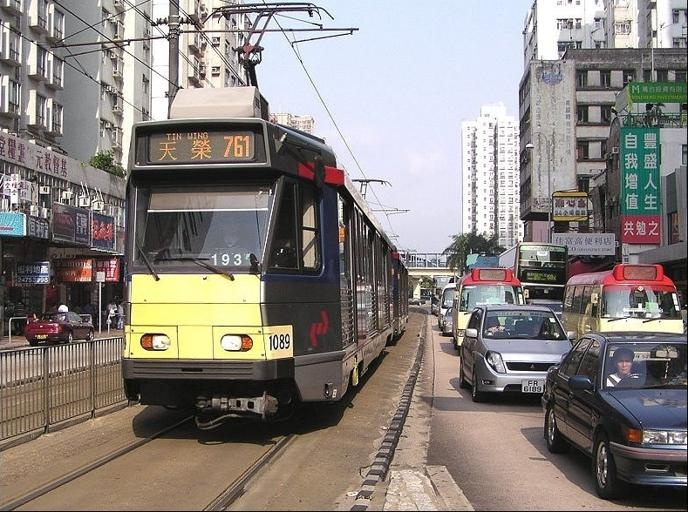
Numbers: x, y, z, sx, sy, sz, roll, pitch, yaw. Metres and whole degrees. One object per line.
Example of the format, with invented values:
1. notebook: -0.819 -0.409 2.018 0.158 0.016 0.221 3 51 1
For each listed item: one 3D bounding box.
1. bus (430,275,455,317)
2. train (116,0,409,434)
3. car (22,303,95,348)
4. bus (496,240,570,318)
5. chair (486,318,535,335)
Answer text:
1. bus: 8.165 3.457 64.082 1.971 3.088 6.007 0 -5 1
2. train: -1.265 0.045 12.321 2.760 5.182 4.529 1 -1 16
3. car: -12.406 3.103 31.675 2.654 1.644 1.532 3 -2 -44
4. bus: 9.536 0.893 35.423 1.945 2.998 5.842 0 -7 3
5. chair: 3.550 1.495 15.367 0.615 0.472 0.300 -1 -15 -3
